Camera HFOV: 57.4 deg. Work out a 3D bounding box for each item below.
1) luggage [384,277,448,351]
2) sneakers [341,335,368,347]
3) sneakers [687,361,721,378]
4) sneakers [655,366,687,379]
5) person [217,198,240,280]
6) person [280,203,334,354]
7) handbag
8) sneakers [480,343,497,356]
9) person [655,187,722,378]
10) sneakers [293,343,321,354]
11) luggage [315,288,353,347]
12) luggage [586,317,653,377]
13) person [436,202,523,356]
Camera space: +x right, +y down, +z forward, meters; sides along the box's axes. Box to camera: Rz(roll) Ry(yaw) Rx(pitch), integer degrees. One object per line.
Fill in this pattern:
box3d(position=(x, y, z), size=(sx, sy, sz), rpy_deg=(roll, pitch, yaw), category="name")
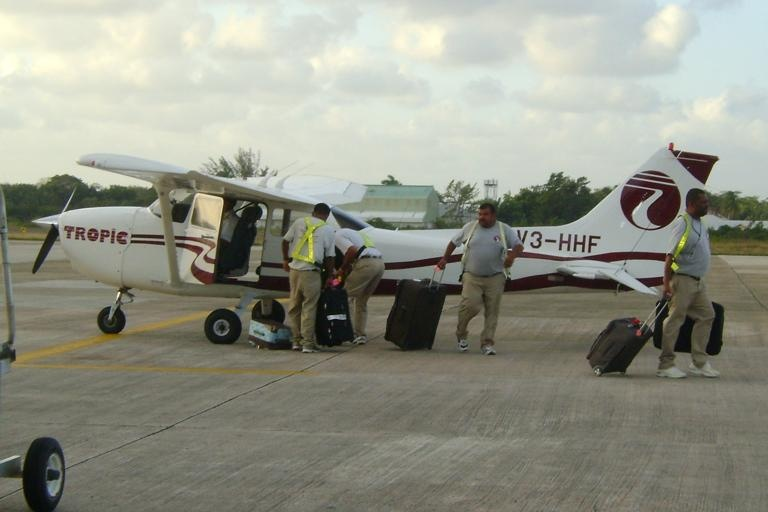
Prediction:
box3d(position=(0.459, 0.843, 10.499), size=(0.768, 1.029, 0.666), rpy_deg=(7, 9, -34), category="luggage")
box3d(position=(-0.451, 1.304, 10.769), size=(0.399, 0.161, 0.157), rpy_deg=(3, -7, 0), category="sneakers")
box3d(position=(3.941, 1.413, 8.736), size=(0.427, 0.194, 0.146), rpy_deg=(1, 3, 14), category="sneakers")
box3d(position=(3.508, 1.427, 8.666), size=(0.308, 0.121, 0.149), rpy_deg=(-2, 2, 24), category="sneakers")
box3d(position=(-2.425, -0.292, 10.878), size=(0.382, 1.224, 0.430), rpy_deg=(-2, 6, -26), category="person")
box3d(position=(-1.076, 0.314, 10.096), size=(0.599, 2.128, 0.642), rpy_deg=(-4, 6, -36), category="person")
box3d(position=(3.710, 0.865, 8.627), size=(0.886, 0.724, 0.304), rpy_deg=(0, 4, 4), category="handbag")
box3d(position=(1.496, 1.348, 10.147), size=(0.219, 0.199, 0.132), rpy_deg=(0, 5, 17), category="sneakers")
box3d(position=(3.653, 0.340, 8.496), size=(0.793, 2.307, 0.406), rpy_deg=(-2, 5, -19), category="person")
box3d(position=(-1.093, 1.332, 10.131), size=(0.393, 0.156, 0.143), rpy_deg=(0, 2, -20), category="sneakers")
box3d(position=(-0.752, 0.880, 10.252), size=(0.456, 0.815, 0.569), rpy_deg=(0, 7, 38), category="luggage")
box3d(position=(3.034, 1.204, 9.064), size=(0.427, 0.739, 0.587), rpy_deg=(43, 25, 20), category="luggage")
box3d(position=(1.404, 0.325, 10.105), size=(1.099, 2.213, 0.824), rpy_deg=(2, 5, 22), category="person")
